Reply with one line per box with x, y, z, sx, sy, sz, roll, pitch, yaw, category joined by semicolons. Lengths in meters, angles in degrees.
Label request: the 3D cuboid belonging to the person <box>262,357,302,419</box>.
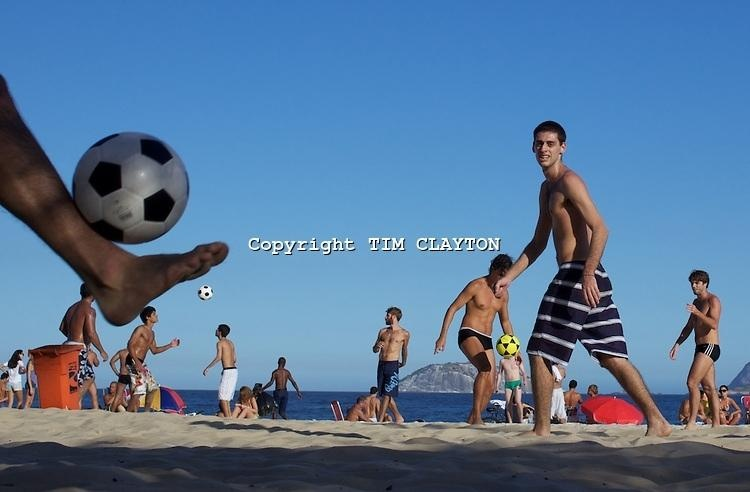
-1.976;3.048;17.674;0.808;1.589;0.360;3;11;-1;person

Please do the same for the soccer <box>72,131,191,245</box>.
-1.699;-0.376;5.936;0.813;0.754;0.754;8;27;-24;soccer

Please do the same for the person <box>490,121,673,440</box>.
1.923;0.304;8.417;1.312;2.980;1.053;-4;-14;16;person

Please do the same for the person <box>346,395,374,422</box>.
-0.297;2.941;15.612;0.463;0.508;1.227;0;-15;-2;person

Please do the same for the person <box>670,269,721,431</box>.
4.159;1.323;10.961;0.562;1.973;1.044;-5;-15;19;person

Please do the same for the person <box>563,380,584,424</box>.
4.123;3.341;17.900;0.402;1.196;0.408;5;21;22;person

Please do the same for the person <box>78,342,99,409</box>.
-4.561;1.972;13.519;0.360;1.138;0.322;6;19;-4;person

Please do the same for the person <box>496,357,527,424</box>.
2.253;2.259;14.029;0.457;1.436;0.378;-5;21;7;person

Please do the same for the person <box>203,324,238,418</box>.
-2.568;2.082;14.372;0.425;1.559;2.180;2;-15;-10;person

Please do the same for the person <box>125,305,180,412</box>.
-3.609;1.910;13.527;0.717;1.887;0.749;-5;-13;26;person
